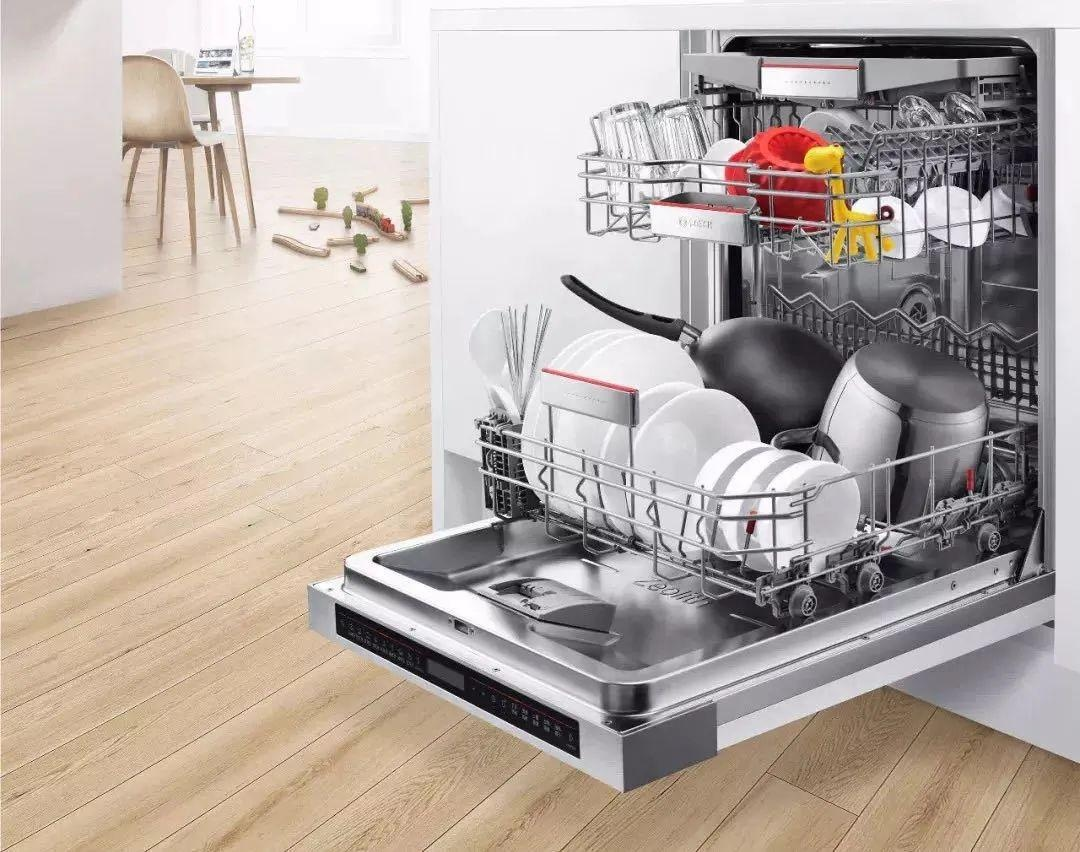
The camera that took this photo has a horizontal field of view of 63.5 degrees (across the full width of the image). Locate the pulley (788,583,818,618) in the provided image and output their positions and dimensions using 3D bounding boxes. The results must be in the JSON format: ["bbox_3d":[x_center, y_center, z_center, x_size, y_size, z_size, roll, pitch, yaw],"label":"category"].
[{"bbox_3d":[0.227,0.149,0.735,0.014,0.021,0.033,13,15,29],"label":"pulley"}]

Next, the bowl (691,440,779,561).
[{"bbox_3d":[0.161,0.064,0.791,0.025,0.095,0.098,7,-19,35],"label":"bowl"}]

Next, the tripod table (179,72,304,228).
[{"bbox_3d":[-1.677,-1.540,4.816,0.885,0.686,0.794,-2,12,-4],"label":"tripod table"}]

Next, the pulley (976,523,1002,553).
[{"bbox_3d":[0.450,0.112,0.877,0.020,0.034,0.040,-2,13,26],"label":"pulley"}]

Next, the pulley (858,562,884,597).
[{"bbox_3d":[0.290,0.137,0.770,0.027,0.025,0.010,-38,19,-9],"label":"pulley"}]

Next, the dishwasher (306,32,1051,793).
[{"bbox_3d":[0.216,-0.072,1.033,0.819,0.494,0.640,-17,15,-38],"label":"dishwasher"}]

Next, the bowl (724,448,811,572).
[{"bbox_3d":[0.173,0.072,0.766,0.113,0.100,0.045,15,-12,-43],"label":"bowl"}]
